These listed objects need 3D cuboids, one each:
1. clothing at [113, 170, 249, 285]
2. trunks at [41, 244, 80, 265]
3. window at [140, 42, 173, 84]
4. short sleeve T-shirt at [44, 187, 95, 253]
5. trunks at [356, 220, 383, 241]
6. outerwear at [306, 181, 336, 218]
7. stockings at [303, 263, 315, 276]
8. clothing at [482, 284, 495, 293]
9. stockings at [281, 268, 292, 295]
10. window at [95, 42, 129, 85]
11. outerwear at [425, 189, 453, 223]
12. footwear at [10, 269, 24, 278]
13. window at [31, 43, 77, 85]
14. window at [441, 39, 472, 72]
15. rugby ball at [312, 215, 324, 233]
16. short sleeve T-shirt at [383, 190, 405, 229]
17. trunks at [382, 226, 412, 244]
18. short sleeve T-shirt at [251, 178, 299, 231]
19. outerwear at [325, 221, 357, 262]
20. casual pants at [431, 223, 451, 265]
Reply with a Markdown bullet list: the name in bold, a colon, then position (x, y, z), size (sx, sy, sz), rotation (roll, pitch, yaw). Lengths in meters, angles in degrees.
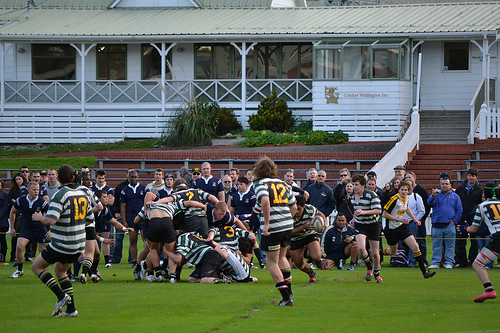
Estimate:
- **clothing**: position (-2.269, 1.766, 35.532), size (3.543, 3.009, 3.168), rotation (-17, 36, -35)
- **trunks**: position (-5.756, 2.774, 31.595), size (1.069, 0.580, 0.738), rotation (6, -29, -15)
- **window**: position (-4.597, -4.958, 51.704), size (2.216, 2.533, 0.091), rotation (-1, -5, 4)
- **short sleeve T-shirt**: position (-5.446, 1.713, 32.016), size (1.123, 2.281, 2.231), rotation (-1, -2, 44)
- **trunks**: position (3.854, 2.162, 34.493), size (0.837, 0.622, 0.587), rotation (0, -7, -2)
- **outerwear**: position (2.430, 1.176, 37.420), size (1.307, 1.254, 0.693), rotation (12, 14, 21)
- **stockings**: position (1.862, 3.433, 34.128), size (0.284, 0.462, 0.190), rotation (-29, 17, 42)
- **clothing**: position (7.327, 3.789, 32.320), size (0.220, 0.297, 0.302), rotation (-21, -19, -25)
- **stockings**: position (1.159, 3.560, 32.075), size (0.257, 0.597, 0.219), rotation (-15, -15, 3)
- **window**: position (-6.879, -5.114, 52.299), size (2.180, 2.558, 0.167), rotation (0, -1, -1)
- **outerwear**: position (6.751, 1.501, 36.700), size (1.004, 1.175, 1.069), rotation (-3, -22, 26)
- **footwear**: position (-7.816, 3.637, 35.015), size (0.510, 0.231, 0.168), rotation (-11, 17, -38)
- **window**: position (-9.791, -5.071, 52.444), size (2.130, 2.063, 0.086), rotation (-1, 1, -3)
- **window**: position (9.699, -5.171, 49.627), size (1.505, 1.645, 0.087), rotation (0, -2, 2)
- **rugby ball**: position (2.171, 1.926, 34.014), size (0.436, 0.503, 0.431), rotation (-2, 11, 0)
- **short sleeve T-shirt**: position (4.775, 1.506, 34.930), size (1.169, 1.195, 0.550), rotation (10, -10, -40)
- **trunks**: position (4.919, 2.403, 34.958), size (0.786, 0.591, 0.499), rotation (8, -2, -5)
- **short sleeve T-shirt**: position (0.592, 1.291, 32.460), size (0.998, 1.915, 2.035), rotation (-9, -5, 28)
- **outerwear**: position (3.086, 2.609, 36.118), size (1.150, 1.328, 0.853), rotation (10, 17, -7)
- **casual pants**: position (6.668, 2.780, 36.810), size (0.778, 1.934, 0.530), rotation (-5, 22, -1)
